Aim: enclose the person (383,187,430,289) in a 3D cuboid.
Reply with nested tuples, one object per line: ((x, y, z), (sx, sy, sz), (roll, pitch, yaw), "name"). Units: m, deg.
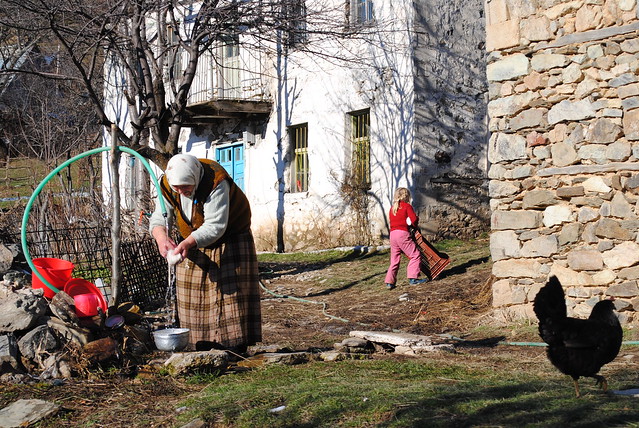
((1.582, 0.426, 17.590), (0.717, 1.813, 0.612), (-5, -6, 31), "person")

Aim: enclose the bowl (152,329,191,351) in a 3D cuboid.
((-1.981, 1.709, 12.939), (0.480, 0.321, 0.293), (-3, 10, -12), "bowl")

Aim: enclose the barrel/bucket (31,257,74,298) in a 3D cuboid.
((-3.869, 0.863, 13.790), (0.545, 0.456, 0.606), (6, 5, 5), "barrel/bucket")

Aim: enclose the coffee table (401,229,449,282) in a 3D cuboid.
((1.939, 0.783, 17.696), (0.518, 0.859, 0.608), (-42, -1, 1), "coffee table")
